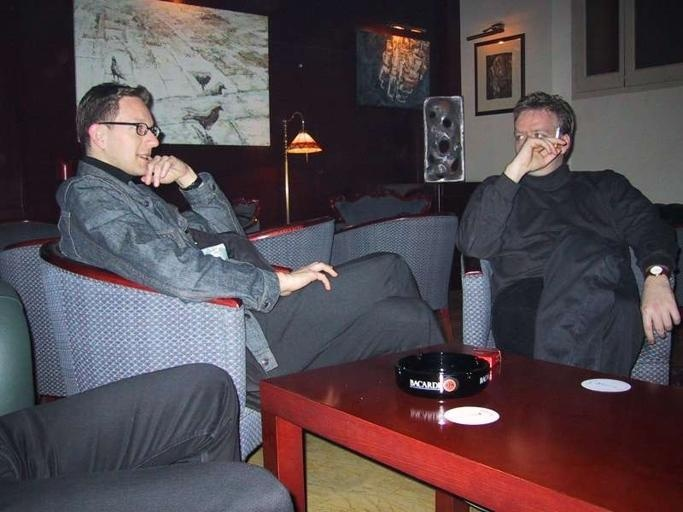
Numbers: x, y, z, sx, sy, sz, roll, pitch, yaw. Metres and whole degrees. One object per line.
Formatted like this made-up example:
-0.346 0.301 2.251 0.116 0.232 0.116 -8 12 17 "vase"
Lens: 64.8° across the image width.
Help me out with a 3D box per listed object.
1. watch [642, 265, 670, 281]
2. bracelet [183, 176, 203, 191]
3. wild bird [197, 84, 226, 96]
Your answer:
1.167 0.068 1.998 0.069 0.046 0.070 -1 -5 36 "watch"
-0.637 -0.307 2.318 0.058 0.035 0.074 -30 20 -30 "bracelet"
-1.233 -1.565 5.129 0.244 0.144 0.077 -4 49 -28 "wild bird"
